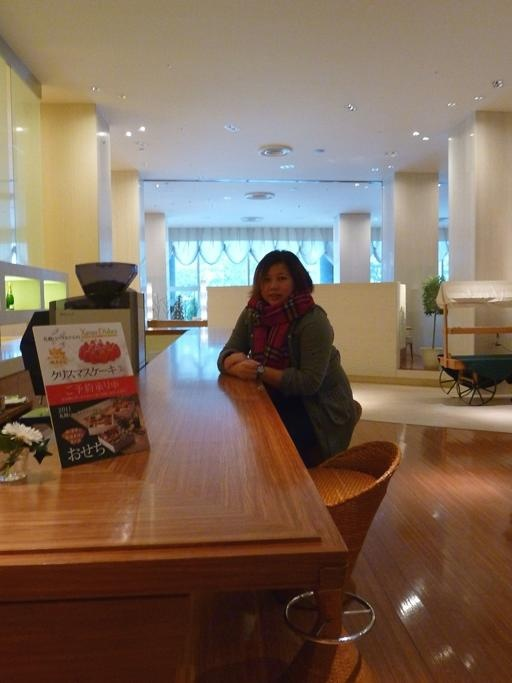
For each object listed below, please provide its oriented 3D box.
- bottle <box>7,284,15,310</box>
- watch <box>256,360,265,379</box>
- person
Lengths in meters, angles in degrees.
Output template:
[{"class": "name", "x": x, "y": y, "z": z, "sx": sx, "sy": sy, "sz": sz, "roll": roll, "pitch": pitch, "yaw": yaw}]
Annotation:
[{"class": "bottle", "x": -2.173, "y": -0.401, "z": 4.495, "sx": 0.058, "sy": 0.210, "sz": 0.147, "roll": -6, "pitch": 9, "yaw": -25}, {"class": "watch", "x": 0.013, "y": 0.097, "z": 1.693, "sx": 0.027, "sy": 0.048, "sz": 0.042, "roll": 2, "pitch": -7, "yaw": -9}, {"class": "person", "x": 0.090, "y": 0.069, "z": 1.854, "sx": 0.459, "sy": 0.799, "sz": 0.604, "roll": -9, "pitch": 10, "yaw": -37}]
